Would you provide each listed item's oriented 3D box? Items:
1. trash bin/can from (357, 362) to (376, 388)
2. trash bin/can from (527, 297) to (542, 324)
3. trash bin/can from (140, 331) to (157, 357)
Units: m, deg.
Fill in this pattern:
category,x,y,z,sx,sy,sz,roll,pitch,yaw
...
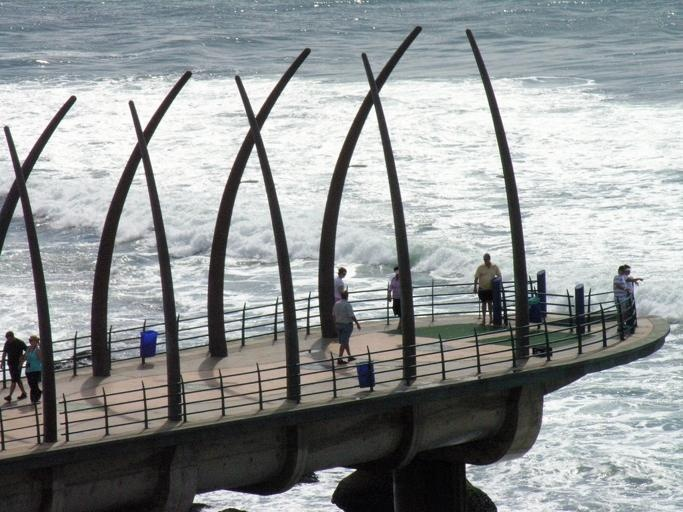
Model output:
category,x,y,z,sx,sy,sz,roll,pitch,yaw
trash bin/can,0.809,4.951,76.826,0.774,1.228,0.756,-3,16,0
trash bin/can,8.384,2.291,80.746,0.526,1.201,0.743,0,16,8
trash bin/can,-8.799,3.897,80.557,0.769,1.297,0.549,-4,17,-6
